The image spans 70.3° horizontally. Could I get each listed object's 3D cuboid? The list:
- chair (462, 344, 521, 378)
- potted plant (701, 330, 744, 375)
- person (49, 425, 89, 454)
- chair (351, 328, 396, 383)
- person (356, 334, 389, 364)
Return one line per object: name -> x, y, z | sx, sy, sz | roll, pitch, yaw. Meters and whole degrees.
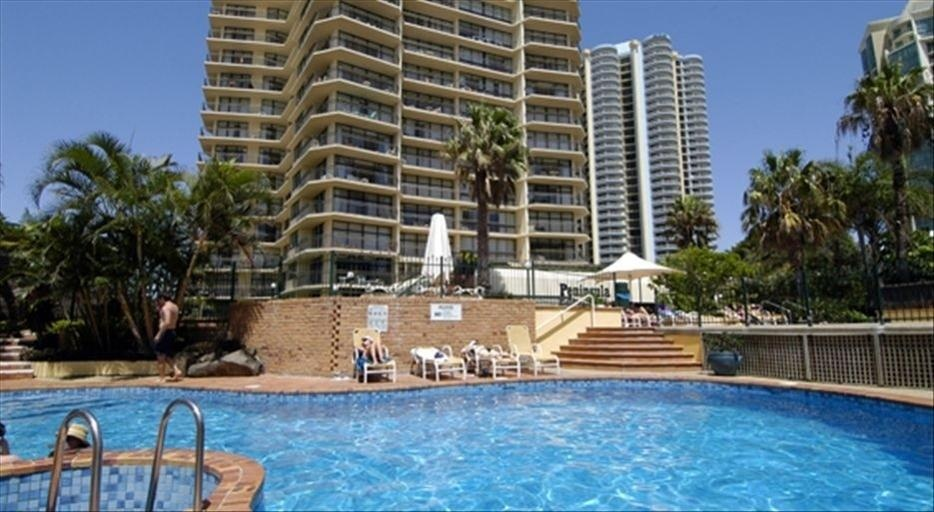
chair -> 0.993, 4.623, 29.140 | 1.376, 0.984, 2.236 | 4, -7, -25
potted plant -> 11.317, 4.388, 29.057 | 1.469, 1.791, 1.544 | -2, -13, 39
person -> -12.103, 5.687, 20.246 | 0.994, 0.554, 1.081 | 1, -17, -10
chair -> -4.019, 4.173, 28.183 | 1.588, 1.898, 2.741 | -3, 1, -20
person -> -4.030, 4.013, 28.171 | 0.900, 0.613, 1.426 | -1, -14, -19
